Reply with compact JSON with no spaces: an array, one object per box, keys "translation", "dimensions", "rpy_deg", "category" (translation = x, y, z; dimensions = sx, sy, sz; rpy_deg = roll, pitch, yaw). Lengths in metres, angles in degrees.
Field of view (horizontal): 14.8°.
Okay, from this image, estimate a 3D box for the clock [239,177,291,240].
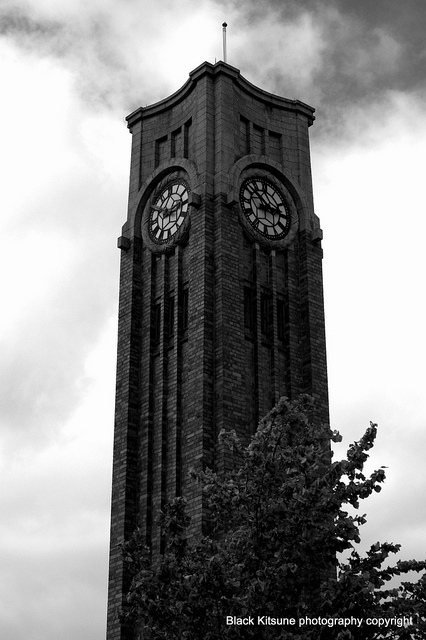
[{"translation":[2.272,-4.397,66.632],"dimensions":[0.170,2.106,2.123],"rpy_deg":[-25,-64,38],"category":"clock"}]
